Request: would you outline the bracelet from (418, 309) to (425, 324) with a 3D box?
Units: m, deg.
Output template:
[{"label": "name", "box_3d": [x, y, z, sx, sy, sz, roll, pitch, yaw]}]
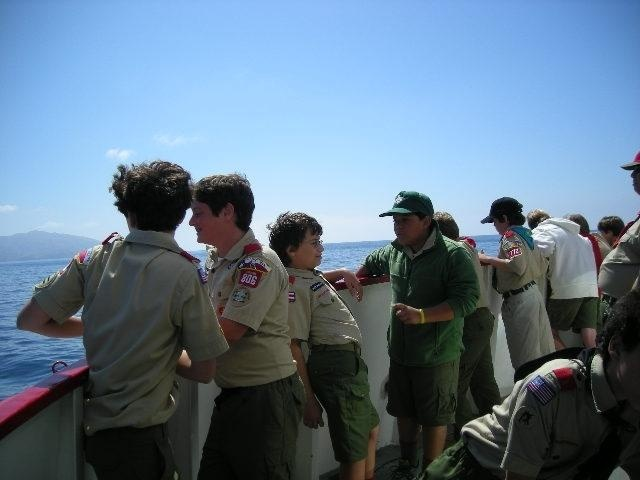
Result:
[{"label": "bracelet", "box_3d": [0.688, 0.527, 3.261, 0.027, 0.076, 0.056, 1, -12, -14]}]

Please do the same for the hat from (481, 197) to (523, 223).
[{"label": "hat", "box_3d": [1.860, -0.288, 4.736, 0.502, 0.316, 0.356, 1, 8, 28]}]
